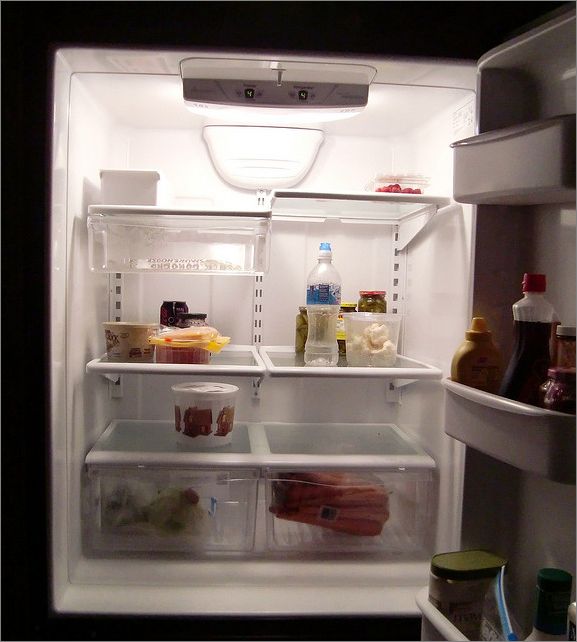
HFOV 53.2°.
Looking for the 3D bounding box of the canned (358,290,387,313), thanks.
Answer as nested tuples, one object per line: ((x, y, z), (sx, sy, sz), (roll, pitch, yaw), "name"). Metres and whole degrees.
((0.234, -0.052, 1.622), (0.070, 0.061, 0.067), (1, -1, -6), "canned")

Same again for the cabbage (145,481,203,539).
((-0.275, 0.474, 1.415), (0.133, 0.112, 0.050), (2, 4, -7), "cabbage")
